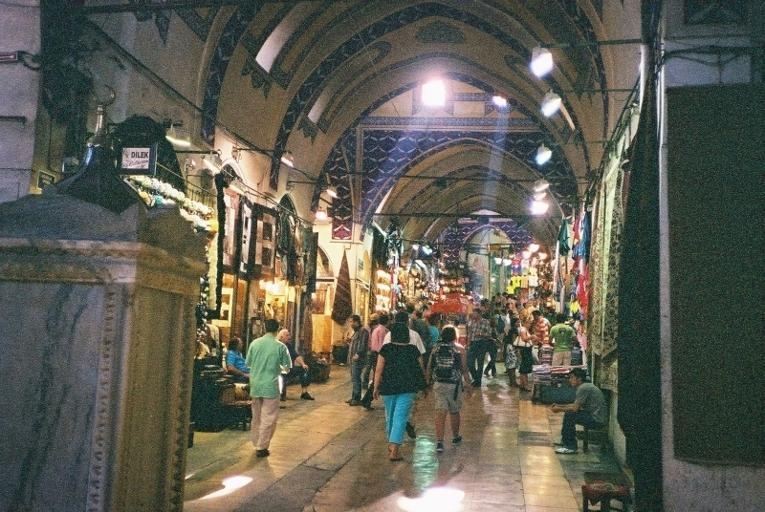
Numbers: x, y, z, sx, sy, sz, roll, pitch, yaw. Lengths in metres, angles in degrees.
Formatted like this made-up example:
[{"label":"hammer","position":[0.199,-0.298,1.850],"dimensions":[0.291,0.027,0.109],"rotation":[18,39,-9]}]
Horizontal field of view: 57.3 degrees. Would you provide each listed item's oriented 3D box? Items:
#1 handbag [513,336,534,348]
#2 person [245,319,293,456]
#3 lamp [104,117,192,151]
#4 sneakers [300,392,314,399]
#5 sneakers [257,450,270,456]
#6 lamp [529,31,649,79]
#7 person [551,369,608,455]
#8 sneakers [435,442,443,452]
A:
[{"label":"handbag","position":[2.743,1.679,13.657],"dimensions":[0.330,0.233,0.214],"rotation":[-2,-18,12]},{"label":"person","position":[-1.389,1.554,8.391],"dimensions":[0.521,1.597,0.473],"rotation":[2,-11,-8]},{"label":"lamp","position":[-3.208,-1.665,9.292],"dimensions":[0.737,0.266,0.506],"rotation":[1,-3,-2]},{"label":"sneakers","position":[-1.341,2.458,12.359],"dimensions":[0.318,0.134,0.104],"rotation":[0,-5,6]},{"label":"sneakers","position":[-1.374,2.260,8.078],"dimensions":[0.058,0.068,0.165],"rotation":[2,-1,26]},{"label":"lamp","position":[2.578,-2.582,8.569],"dimensions":[1.485,0.445,1.484],"rotation":[1,7,8]},{"label":"person","position":[2.357,1.923,8.359],"dimensions":[0.612,0.830,0.543],"rotation":[-3,-11,14]},{"label":"sneakers","position":[0.683,2.297,8.455],"dimensions":[0.100,0.121,0.174],"rotation":[0,-11,2]}]
